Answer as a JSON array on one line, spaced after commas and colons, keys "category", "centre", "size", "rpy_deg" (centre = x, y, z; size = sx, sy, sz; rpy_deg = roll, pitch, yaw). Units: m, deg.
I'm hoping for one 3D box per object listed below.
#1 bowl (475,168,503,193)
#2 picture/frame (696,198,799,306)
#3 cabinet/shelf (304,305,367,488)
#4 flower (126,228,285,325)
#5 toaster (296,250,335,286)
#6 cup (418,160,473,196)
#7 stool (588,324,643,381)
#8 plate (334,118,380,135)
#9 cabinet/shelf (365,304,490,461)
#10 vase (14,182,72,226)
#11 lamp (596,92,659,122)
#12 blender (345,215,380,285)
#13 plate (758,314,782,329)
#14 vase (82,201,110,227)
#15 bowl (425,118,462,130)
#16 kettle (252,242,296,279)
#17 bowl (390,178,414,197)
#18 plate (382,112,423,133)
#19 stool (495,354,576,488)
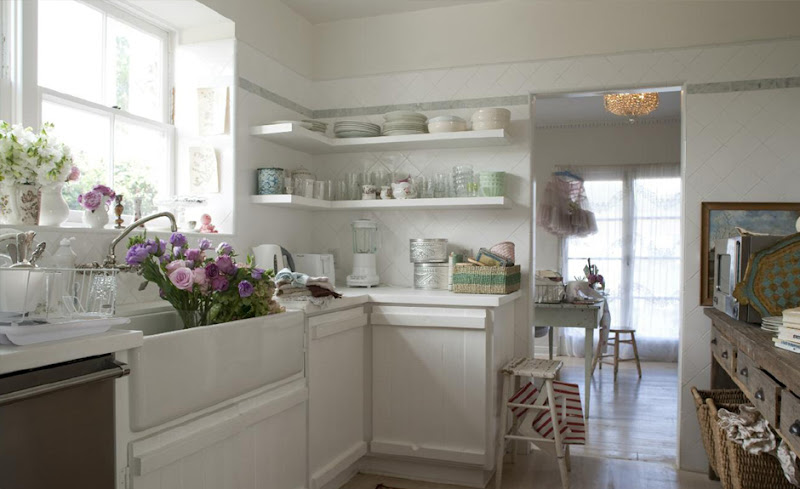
[{"category": "bowl", "centre": [0.706, -0.497, 4.229], "size": [0.182, 0.147, 0.190], "rpy_deg": [0, -5, 0]}, {"category": "picture/frame", "centre": [2.568, 0.060, 4.016], "size": [0.646, 0.783, 0.070], "rpy_deg": [1, 2, 7]}, {"category": "cabinet/shelf", "centre": [-0.442, 1.026, 3.701], "size": [0.167, 1.162, 0.669], "rpy_deg": [1, 2, 21]}, {"category": "flower", "centre": [-1.094, 0.158, 3.050], "size": [0.762, 0.479, 0.557], "rpy_deg": [14, -11, -11]}, {"category": "toaster", "centre": [-0.674, 0.167, 4.313], "size": [0.202, 0.253, 0.266], "rpy_deg": [-8, 14, -37]}, {"category": "cup", "centre": [0.342, -0.522, 4.206], "size": [0.235, 0.188, 0.407], "rpy_deg": [-1, 3, 11]}, {"category": "stool", "centre": [2.794, 1.361, 6.986], "size": [0.635, 0.740, 0.698], "rpy_deg": [2, -7, -19]}, {"category": "plate", "centre": [-0.374, -0.968, 4.456], "size": [0.204, 0.069, 0.205], "rpy_deg": [3, 5, 33]}, {"category": "cabinet/shelf", "centre": [0.240, 0.985, 4.393], "size": [1.182, 1.502, 1.020], "rpy_deg": [-1, -4, 13]}, {"category": "vase", "centre": [-2.003, -0.228, 2.999], "size": [0.256, 0.234, 0.124], "rpy_deg": [-1, 3, -38]}, {"category": "lamp", "centre": [2.301, -1.434, 5.428], "size": [0.424, 0.195, 0.321], "rpy_deg": [-1, 2, -26]}, {"category": "blender", "centre": [-0.325, 0.054, 4.544], "size": [0.258, 0.563, 0.287], "rpy_deg": [0, 2, 1]}, {"category": "plate", "centre": [2.068, 0.432, 3.028], "size": [0.127, 0.049, 0.128], "rpy_deg": [-3, 0, 40]}, {"category": "vase", "centre": [-1.806, -0.178, 3.245], "size": [0.145, 0.167, 0.181], "rpy_deg": [-1, 4, -13]}, {"category": "bowl", "centre": [0.347, -0.958, 4.257], "size": [0.149, 0.051, 0.147], "rpy_deg": [-1, 0, 0]}, {"category": "kettle", "centre": [-0.936, 0.107, 4.049], "size": [0.315, 0.276, 0.224], "rpy_deg": [2, -7, -9]}, {"category": "bowl", "centre": [0.009, -0.458, 4.337], "size": [0.156, 0.095, 0.147], "rpy_deg": [-2, 1, 0]}, {"category": "plate", "centre": [0.023, -0.988, 4.336], "size": [0.223, 0.092, 0.221], "rpy_deg": [2, 3, 21]}, {"category": "stool", "centre": [0.980, 1.277, 4.128], "size": [0.863, 0.991, 0.784], "rpy_deg": [-3, -5, 15]}]
